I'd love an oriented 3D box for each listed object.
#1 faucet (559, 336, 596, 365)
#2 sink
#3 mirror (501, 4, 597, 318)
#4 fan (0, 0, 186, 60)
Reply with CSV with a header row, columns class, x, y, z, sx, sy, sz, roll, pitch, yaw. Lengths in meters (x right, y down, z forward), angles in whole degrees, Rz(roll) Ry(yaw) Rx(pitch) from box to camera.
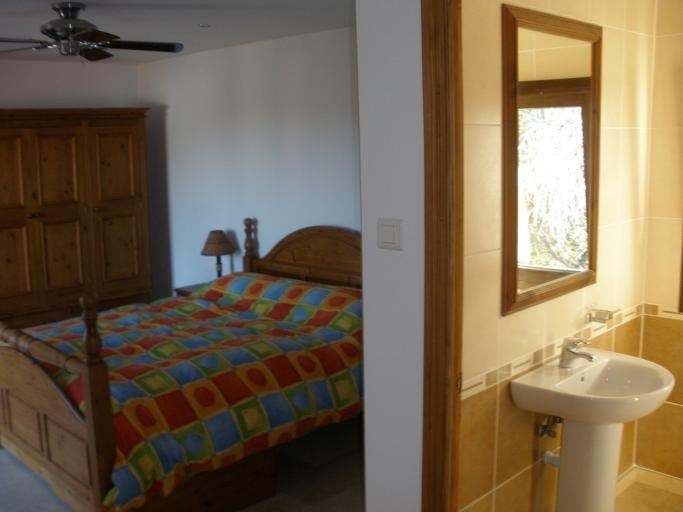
class,x,y,z,sx,sy,sz,roll,pitch,yaw
faucet,0.977,0.400,2.431,0.070,0.123,0.196,-4,1,-25
sink,1.054,0.525,2.285,0.668,0.235,0.404,-11,10,-38
mirror,0.878,-0.403,2.320,0.115,1.156,0.783,4,12,43
fan,-1.187,-1.053,2.612,0.729,0.226,0.311,-9,9,-27
